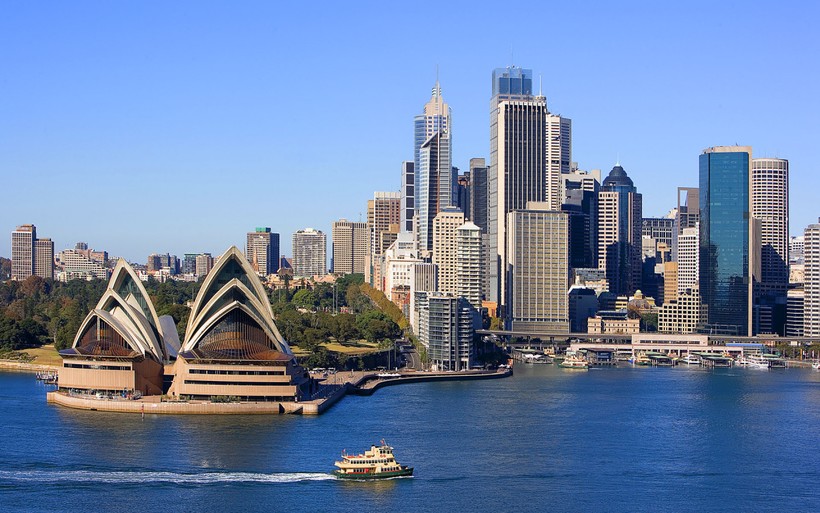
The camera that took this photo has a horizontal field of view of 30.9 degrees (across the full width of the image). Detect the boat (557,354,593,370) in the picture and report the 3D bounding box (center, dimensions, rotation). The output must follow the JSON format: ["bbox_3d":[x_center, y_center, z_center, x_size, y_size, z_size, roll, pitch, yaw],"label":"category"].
[{"bbox_3d":[27.571,17.446,246.389,4.903,1.988,8.767,0,-2,6],"label":"boat"}]

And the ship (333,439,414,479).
[{"bbox_3d":[-4.302,23.769,172.032,9.897,3.779,2.994,0,3,-14],"label":"ship"}]
